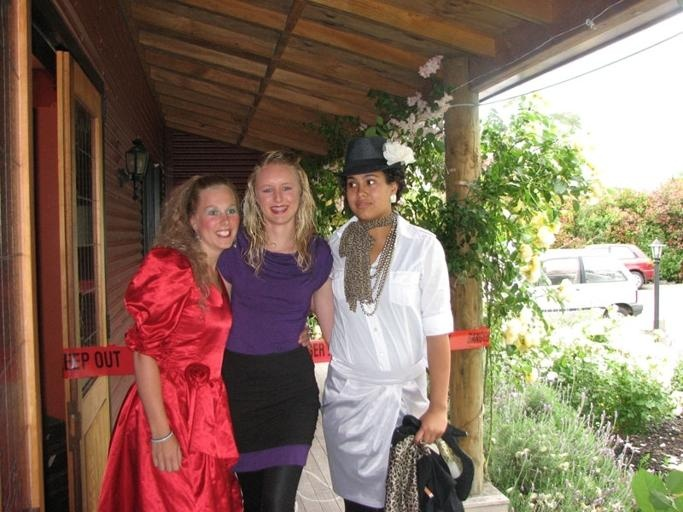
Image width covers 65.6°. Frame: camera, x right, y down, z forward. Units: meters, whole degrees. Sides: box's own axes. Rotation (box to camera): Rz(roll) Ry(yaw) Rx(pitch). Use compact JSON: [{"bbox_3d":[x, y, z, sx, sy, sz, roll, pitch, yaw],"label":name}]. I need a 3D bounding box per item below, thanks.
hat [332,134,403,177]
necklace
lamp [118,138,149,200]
[{"bbox_3d":[0.125,-0.490,2.764,0.273,0.215,0.298,5,9,-17],"label":"hat"},{"bbox_3d":[0.197,0.059,2.634,0.134,0.461,0.029,9,-13,44],"label":"necklace"},{"bbox_3d":[-1.951,-0.796,4.987,0.288,0.623,0.235,-3,-9,3],"label":"lamp"}]
